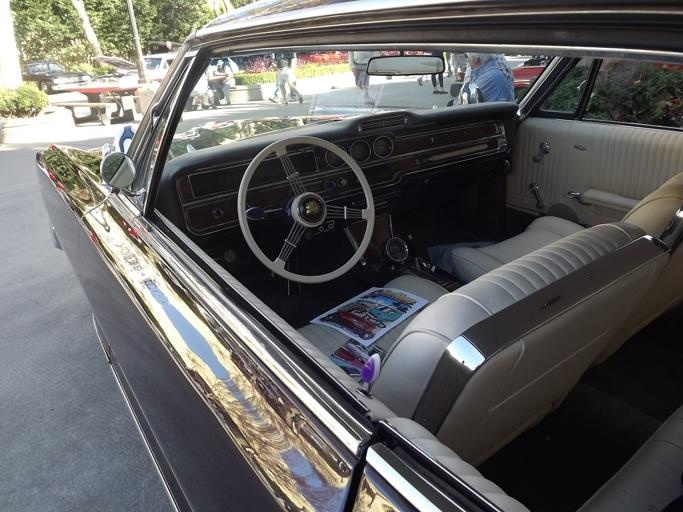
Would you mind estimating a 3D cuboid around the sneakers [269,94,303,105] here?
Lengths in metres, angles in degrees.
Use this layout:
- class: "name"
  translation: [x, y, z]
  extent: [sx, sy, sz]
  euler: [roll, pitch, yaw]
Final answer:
- class: "sneakers"
  translation: [-0.303, -0.836, 2.235]
  extent: [0.143, 0.064, 0.045]
  euler: [-2, 64, 9]

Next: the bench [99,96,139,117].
- class: "bench"
  translation: [-5.772, -3.896, 10.922]
  extent: [0.438, 0.413, 0.641]
  euler: [-13, 29, -35]

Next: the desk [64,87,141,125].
- class: "desk"
  translation: [-6.385, -4.042, 11.129]
  extent: [1.886, 0.905, 1.693]
  euler: [9, 19, 25]
